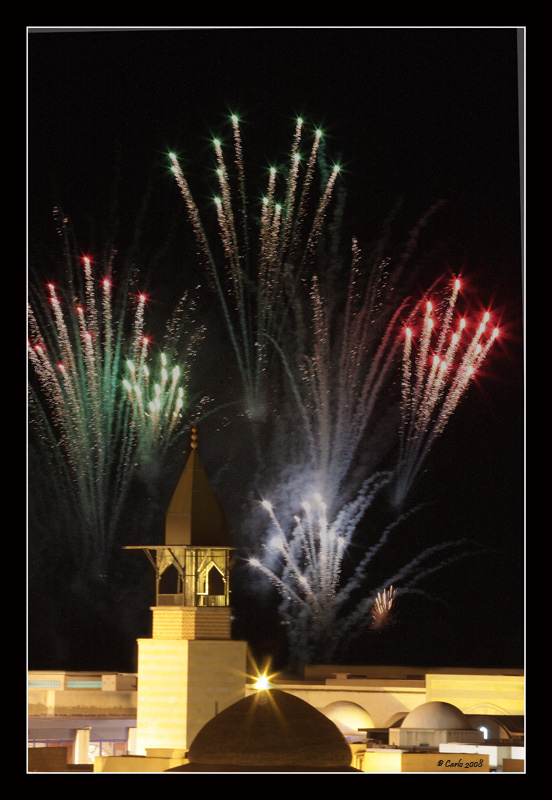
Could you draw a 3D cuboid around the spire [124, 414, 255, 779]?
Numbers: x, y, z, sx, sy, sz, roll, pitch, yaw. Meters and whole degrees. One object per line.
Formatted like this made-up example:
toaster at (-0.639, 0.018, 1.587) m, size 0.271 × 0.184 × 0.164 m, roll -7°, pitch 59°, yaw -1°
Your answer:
spire at (-1.340, 3.080, 18.869) m, size 1.693 × 4.830 × 0.844 m, roll -2°, pitch -21°, yaw 9°
